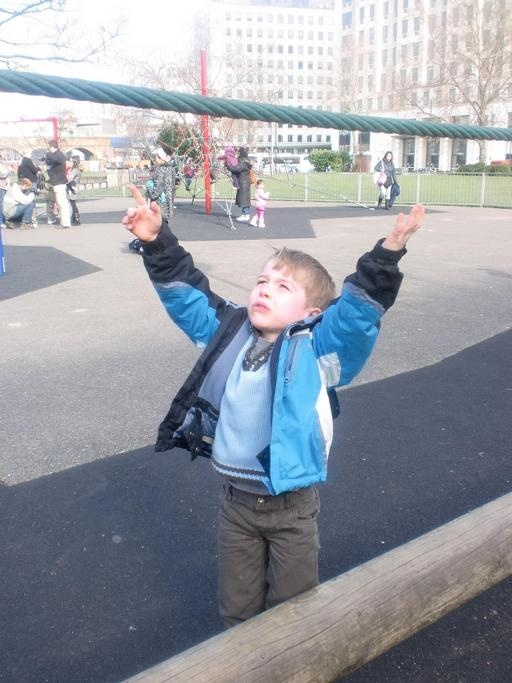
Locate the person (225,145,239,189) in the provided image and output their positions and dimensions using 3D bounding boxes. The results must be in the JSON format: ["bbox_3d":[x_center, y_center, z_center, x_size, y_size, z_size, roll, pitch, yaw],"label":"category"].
[{"bbox_3d":[-0.704,-5.987,16.701,0.379,1.386,0.627,2,6,-36],"label":"person"}]

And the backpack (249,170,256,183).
[{"bbox_3d":[-0.113,-5.644,16.814,0.130,0.401,0.275,16,23,41],"label":"backpack"}]

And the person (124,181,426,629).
[{"bbox_3d":[0.043,0.260,1.409,0.805,1.328,0.460,5,11,28],"label":"person"}]

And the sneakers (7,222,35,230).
[{"bbox_3d":[-7.637,-3.720,15.751,0.630,0.297,0.209,-2,30,-6],"label":"sneakers"}]

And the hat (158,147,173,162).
[{"bbox_3d":[-1.942,-3.900,10.286,0.177,0.284,0.548,2,10,11],"label":"hat"}]
